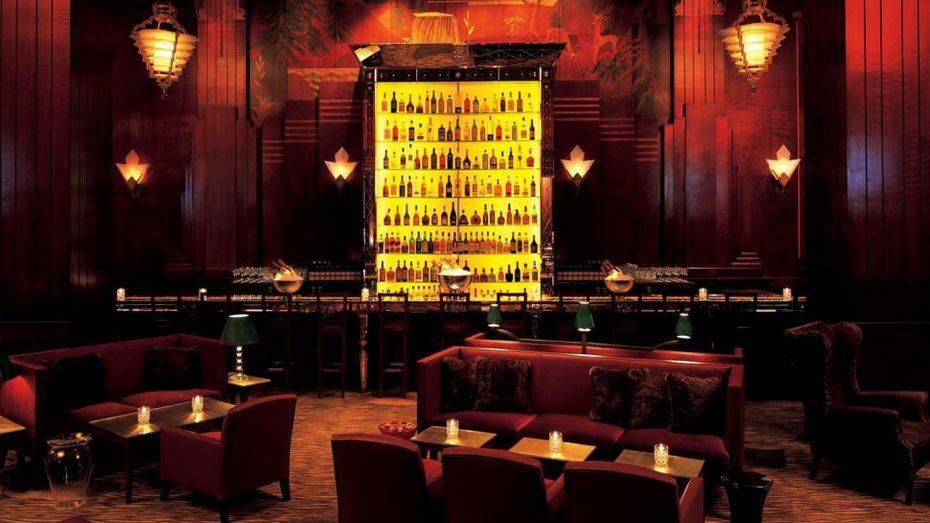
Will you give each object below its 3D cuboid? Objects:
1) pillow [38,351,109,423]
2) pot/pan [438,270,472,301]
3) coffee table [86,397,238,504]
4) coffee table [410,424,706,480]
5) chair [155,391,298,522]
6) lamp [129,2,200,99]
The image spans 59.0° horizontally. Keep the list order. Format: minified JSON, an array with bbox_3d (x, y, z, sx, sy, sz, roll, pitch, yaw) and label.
[{"bbox_3d":[-5.302,1.724,11.357,0.247,0.744,0.831,-4,-2,40],"label":"pillow"},{"bbox_3d":[-0.138,0.380,13.334,0.529,0.421,0.504,-6,8,-41],"label":"pot/pan"},{"bbox_3d":[-4.527,2.689,11.745,1.613,1.392,2.379,-1,-2,41],"label":"coffee table"},{"bbox_3d":[1.190,2.398,10.492,3.181,0.637,0.660,2,9,22],"label":"coffee table"},{"bbox_3d":[-3.173,2.456,11.202,1.615,1.666,1.491,1,-2,-5],"label":"chair"},{"bbox_3d":[-5.170,-3.627,14.072,1.246,2.046,1.067,-3,8,-13],"label":"lamp"}]
